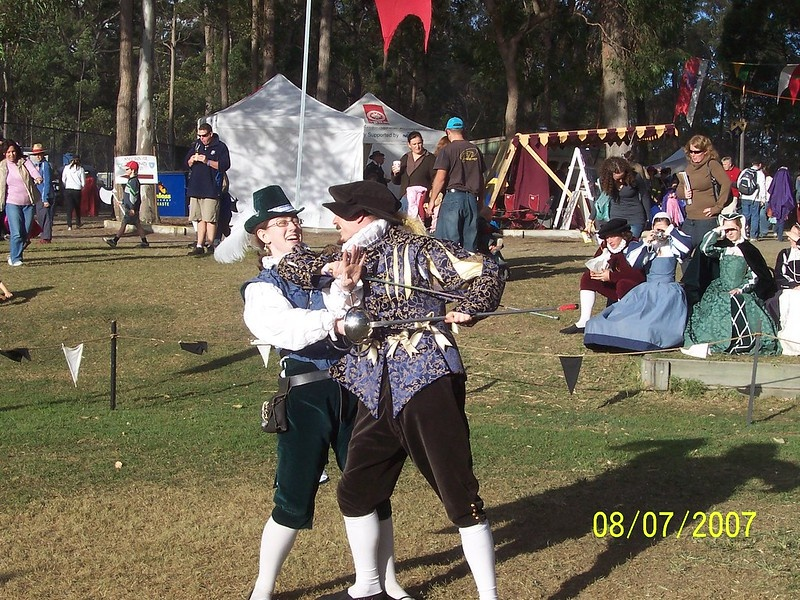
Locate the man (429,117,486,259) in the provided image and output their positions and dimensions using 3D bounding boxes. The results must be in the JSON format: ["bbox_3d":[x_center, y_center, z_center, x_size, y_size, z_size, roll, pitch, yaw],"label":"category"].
[{"bbox_3d":[0.772,-1.431,13.968,0.751,2.067,0.736,-12,27,-21],"label":"man"}]

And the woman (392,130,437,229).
[{"bbox_3d":[0.164,-1.484,14.713,0.688,1.666,0.484,3,-2,24],"label":"woman"}]

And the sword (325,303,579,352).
[{"bbox_3d":[0.511,0.260,9.008,1.857,0.376,0.420,-4,19,17],"label":"sword"}]

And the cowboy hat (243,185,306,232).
[{"bbox_3d":[-0.976,-0.695,7.663,0.585,0.258,0.486,-14,-1,-14],"label":"cowboy hat"}]

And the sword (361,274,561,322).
[{"bbox_3d":[0.435,0.088,7.341,1.502,0.471,0.056,1,-14,10],"label":"sword"}]

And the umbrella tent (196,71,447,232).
[{"bbox_3d":[-2.079,-3.379,24.907,5.368,4.054,5.156,0,9,-5],"label":"umbrella tent"}]

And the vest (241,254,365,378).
[{"bbox_3d":[-0.776,0.086,7.350,0.665,0.334,0.590,26,32,34],"label":"vest"}]

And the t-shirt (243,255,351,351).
[{"bbox_3d":[-0.773,0.031,7.366,0.622,0.564,0.246,1,52,1],"label":"t-shirt"}]

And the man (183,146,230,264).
[{"bbox_3d":[-3.155,-1.710,16.766,0.632,1.863,0.753,0,6,-12],"label":"man"}]

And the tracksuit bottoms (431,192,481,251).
[{"bbox_3d":[0.815,-0.934,13.866,0.532,1.105,0.372,0,21,-11],"label":"tracksuit bottoms"}]
